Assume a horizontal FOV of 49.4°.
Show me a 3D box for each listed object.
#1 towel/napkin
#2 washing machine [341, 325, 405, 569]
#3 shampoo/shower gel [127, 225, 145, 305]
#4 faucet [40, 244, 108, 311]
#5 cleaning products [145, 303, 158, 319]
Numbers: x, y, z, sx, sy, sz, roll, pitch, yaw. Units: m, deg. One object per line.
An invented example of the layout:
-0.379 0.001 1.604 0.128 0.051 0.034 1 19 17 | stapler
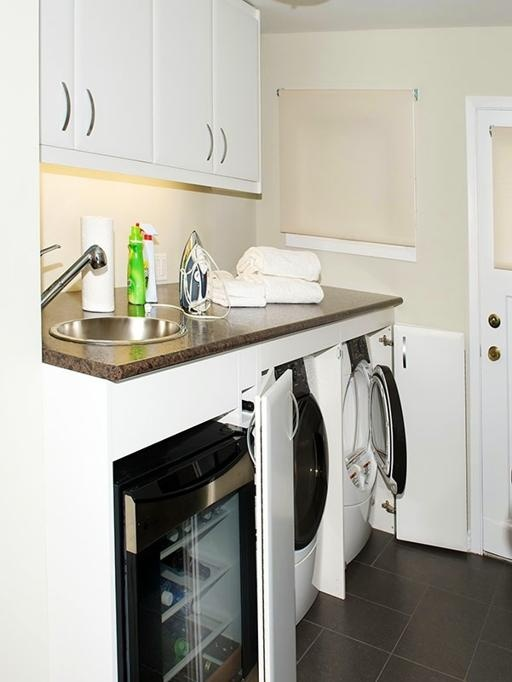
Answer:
0.034 -0.237 2.011 0.503 0.215 0.296 -4 7 -31 | towel/napkin
0.462 0.426 2.182 0.225 0.913 0.535 1 5 14 | washing machine
-0.397 -0.247 1.834 0.054 0.262 0.124 -1 5 -16 | shampoo/shower gel
-0.480 -0.174 1.438 0.169 0.141 0.161 -4 7 -35 | faucet
-0.327 -0.093 1.740 0.039 0.061 0.084 1 -1 -8 | cleaning products
